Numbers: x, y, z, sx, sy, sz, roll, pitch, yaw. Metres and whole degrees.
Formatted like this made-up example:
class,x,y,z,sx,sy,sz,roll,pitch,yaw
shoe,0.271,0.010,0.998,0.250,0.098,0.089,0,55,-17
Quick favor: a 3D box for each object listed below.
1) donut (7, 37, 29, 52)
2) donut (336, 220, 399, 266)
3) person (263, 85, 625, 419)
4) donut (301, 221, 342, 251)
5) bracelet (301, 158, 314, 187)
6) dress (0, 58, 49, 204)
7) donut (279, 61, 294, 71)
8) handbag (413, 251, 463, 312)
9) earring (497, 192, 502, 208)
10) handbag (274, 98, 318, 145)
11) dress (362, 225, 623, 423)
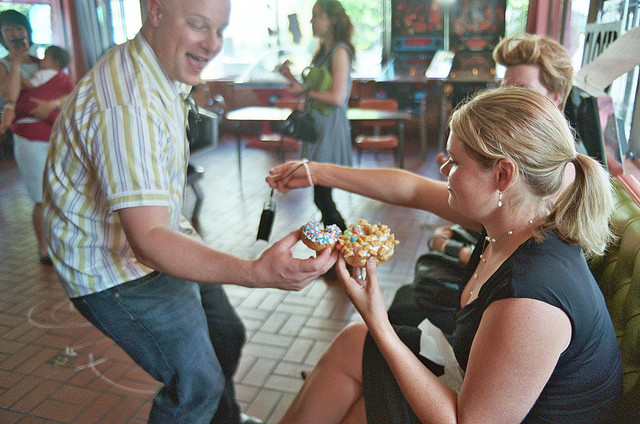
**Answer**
class,x,y,z,sx,sy,sz,roll,pitch,yaw
donut,-1.706,-0.964,2.659,0.013,0.079,0.104,16,23,40
donut,0.179,0.124,1.890,0.251,0.102,0.266,-5,25,14
person,0.568,0.212,1.852,1.193,1.376,0.892,9,20,27
donut,0.020,0.091,1.900,0.152,0.063,0.140,-30,25,56
bracelet,-0.063,-0.199,2.367,0.032,0.120,0.105,-11,37,-5
dress,-1.778,-0.479,2.907,0.232,0.928,0.280,-11,21,-31
donut,-0.212,-0.994,3.176,0.060,0.062,0.044,6,3,-7
handbag,0.586,0.333,2.340,0.179,0.088,0.240,-23,25,1
earring,0.649,-0.048,1.699,0.018,0.056,0.012,-16,24,-40
handbag,-0.158,-0.658,3.264,0.260,0.279,0.090,32,40,14
dress,0.671,0.353,2.003,0.878,0.867,0.710,1,10,12
